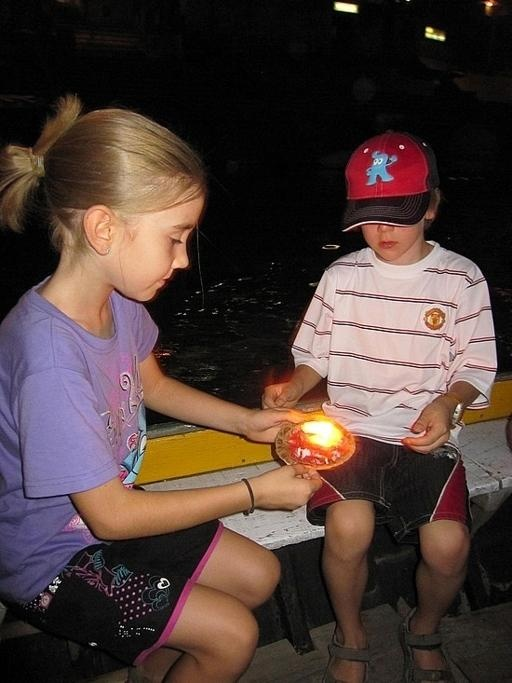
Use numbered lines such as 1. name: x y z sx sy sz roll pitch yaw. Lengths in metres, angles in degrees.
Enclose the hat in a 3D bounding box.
1. hat: 0.471 -0.569 2.092 0.316 0.290 0.368 3 32 11
